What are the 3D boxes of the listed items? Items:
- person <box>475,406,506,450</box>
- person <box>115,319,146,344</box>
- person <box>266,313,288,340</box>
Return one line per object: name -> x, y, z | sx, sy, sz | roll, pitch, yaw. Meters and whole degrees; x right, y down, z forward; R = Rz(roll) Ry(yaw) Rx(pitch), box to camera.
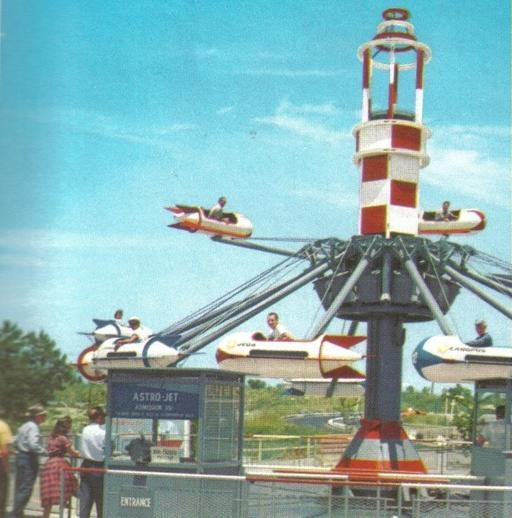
person -> 5.064, 3.659, 37.294 | 0.292, 0.938, 1.332 | 2, -11, -10
person -> -2.993, 1.776, 41.485 | 0.699, 0.696, 1.144 | 0, -11, 0
person -> 0.467, 1.519, 38.510 | 0.443, 0.558, 0.881 | -1, -11, 2
